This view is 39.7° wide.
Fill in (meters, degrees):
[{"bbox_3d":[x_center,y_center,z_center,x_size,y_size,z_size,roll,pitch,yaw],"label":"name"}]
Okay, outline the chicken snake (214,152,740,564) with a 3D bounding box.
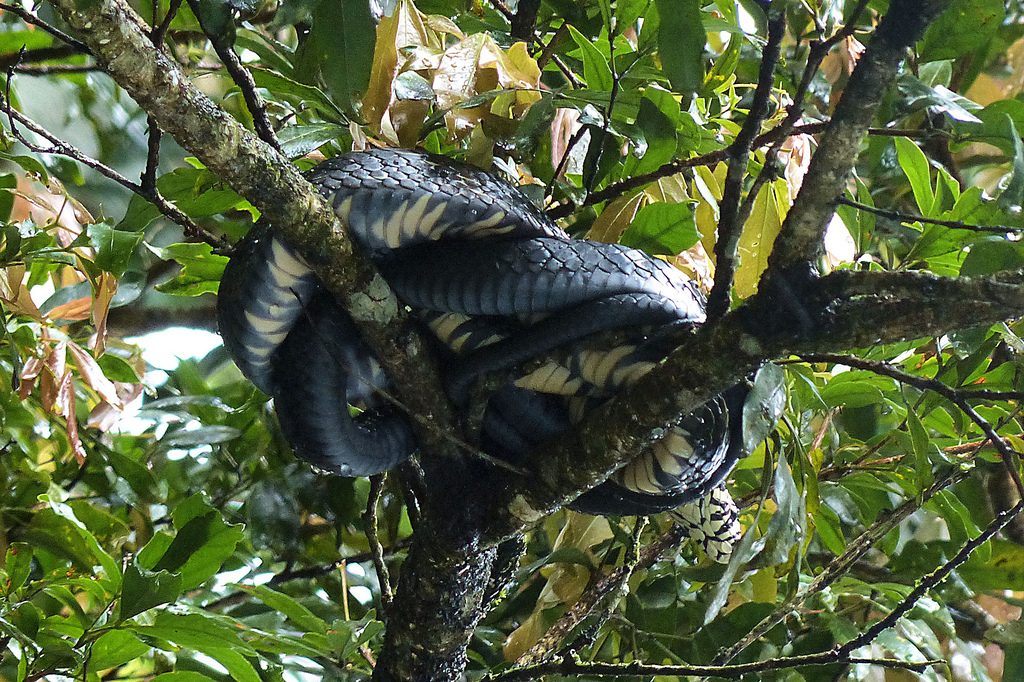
[{"bbox_3d":[-0.060,0.013,3.424,1.224,0.845,0.422,34,-83,6],"label":"chicken snake"}]
